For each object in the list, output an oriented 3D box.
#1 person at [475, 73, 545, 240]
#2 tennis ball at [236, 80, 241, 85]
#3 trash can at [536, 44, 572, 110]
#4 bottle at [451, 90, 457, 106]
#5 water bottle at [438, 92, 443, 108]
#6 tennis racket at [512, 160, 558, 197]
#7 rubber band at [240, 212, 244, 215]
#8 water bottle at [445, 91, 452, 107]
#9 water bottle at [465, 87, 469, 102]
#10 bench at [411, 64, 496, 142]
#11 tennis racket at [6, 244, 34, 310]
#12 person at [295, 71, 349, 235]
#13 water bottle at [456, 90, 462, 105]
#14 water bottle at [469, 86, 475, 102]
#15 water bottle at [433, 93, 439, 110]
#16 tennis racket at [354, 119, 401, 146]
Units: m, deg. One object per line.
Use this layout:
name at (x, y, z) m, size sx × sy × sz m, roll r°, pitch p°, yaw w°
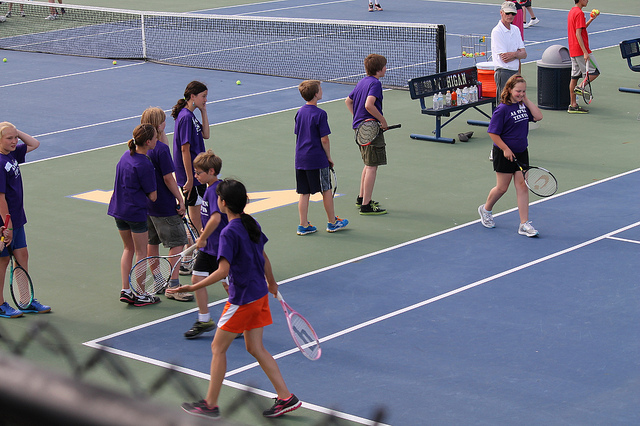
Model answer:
person at (3.040, -0.885, 10.088) m, size 0.854 × 2.376 × 0.876 m, roll -20°, pitch 24°, yaw -38°
tennis ball at (-2.520, -4.068, 20.378) m, size 0.105 × 0.100 × 0.120 m, roll -37°, pitch 22°, yaw -28°
trash can at (6.142, -3.496, 16.794) m, size 1.034 × 1.462 × 0.984 m, roll -4°, pitch 10°, yaw 5°
bottle at (3.036, -2.609, 14.827) m, size 0.127 × 0.304 × 0.207 m, roll -4°, pitch 18°, yaw 4°
water bottle at (2.681, -2.508, 14.574) m, size 0.100 × 0.299 × 0.220 m, roll -1°, pitch 18°, yaw 11°
tennis racket at (3.425, -0.531, 10.467) m, size 0.860 × 0.341 × 0.069 m, roll 43°, pitch 2°, yaw 14°
rubber band at (-0.714, 0.002, 6.005) m, size 0.009 × 0.010 × 0.041 m, roll -28°, pitch 3°, yaw 38°
water bottle at (2.882, -2.558, 14.677) m, size 0.149 × 0.312 × 0.389 m, roll -1°, pitch 18°, yaw 11°
water bottle at (3.376, -2.700, 14.971) m, size 0.056 × 0.307 × 0.094 m, roll -1°, pitch 19°, yaw 12°
bench at (3.129, -2.500, 15.154) m, size 1.145 × 1.290 × 2.739 m, roll 13°, pitch 23°, yaw 40°
tennis racket at (-3.735, 0.806, 8.071) m, size 0.228 × 0.842 × 0.465 m, roll -20°, pitch 23°, yaw -37°
person at (-0.089, -0.845, 10.183) m, size 0.744 × 2.398 × 0.341 m, roll -5°, pitch 19°, yaw 0°
water bottle at (3.179, -2.632, 14.826) m, size 0.208 × 0.323 × 0.091 m, roll -20°, pitch 24°, yaw -39°
water bottle at (3.484, -2.727, 15.004) m, size 0.092 × 0.312 × 0.163 m, roll 5°, pitch 21°, yaw 27°
water bottle at (2.575, -2.463, 14.456) m, size 0.099 × 0.285 × 0.298 m, roll -1°, pitch 18°, yaw 10°
tennis racket at (0.834, -1.333, 10.867) m, size 0.478 × 0.444 × 0.263 m, roll -3°, pitch 18°, yaw 5°
